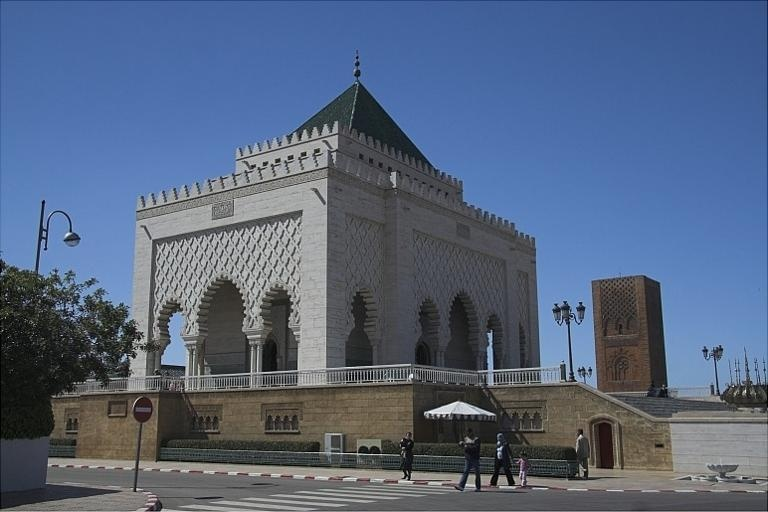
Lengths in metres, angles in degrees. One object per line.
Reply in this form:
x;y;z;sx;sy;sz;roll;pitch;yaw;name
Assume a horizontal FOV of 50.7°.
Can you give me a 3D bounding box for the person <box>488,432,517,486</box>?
3.948;6.854;27.146;0.799;1.711;1.012;-2;-14;7;person
